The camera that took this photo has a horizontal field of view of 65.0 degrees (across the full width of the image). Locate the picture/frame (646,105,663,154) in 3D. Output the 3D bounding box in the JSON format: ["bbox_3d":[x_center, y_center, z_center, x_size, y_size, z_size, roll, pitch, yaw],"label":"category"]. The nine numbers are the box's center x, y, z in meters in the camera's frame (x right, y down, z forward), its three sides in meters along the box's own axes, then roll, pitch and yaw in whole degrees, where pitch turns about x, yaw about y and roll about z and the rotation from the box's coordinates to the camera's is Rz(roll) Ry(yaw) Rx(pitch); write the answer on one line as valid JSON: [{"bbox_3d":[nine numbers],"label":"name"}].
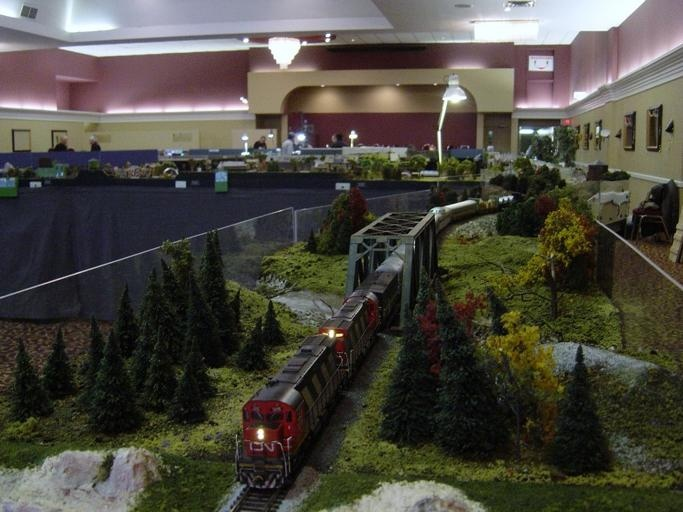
[{"bbox_3d":[16.230,-6.693,28.107,0.384,2.317,2.174,1,9,21],"label":"picture/frame"}]

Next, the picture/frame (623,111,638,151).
[{"bbox_3d":[17.503,-7.676,32.870,0.297,2.343,2.453,1,9,19],"label":"picture/frame"}]
